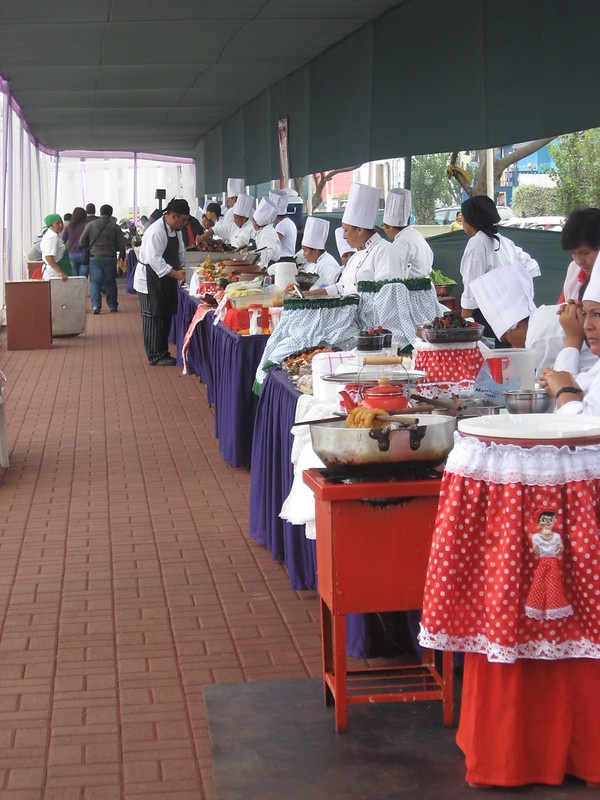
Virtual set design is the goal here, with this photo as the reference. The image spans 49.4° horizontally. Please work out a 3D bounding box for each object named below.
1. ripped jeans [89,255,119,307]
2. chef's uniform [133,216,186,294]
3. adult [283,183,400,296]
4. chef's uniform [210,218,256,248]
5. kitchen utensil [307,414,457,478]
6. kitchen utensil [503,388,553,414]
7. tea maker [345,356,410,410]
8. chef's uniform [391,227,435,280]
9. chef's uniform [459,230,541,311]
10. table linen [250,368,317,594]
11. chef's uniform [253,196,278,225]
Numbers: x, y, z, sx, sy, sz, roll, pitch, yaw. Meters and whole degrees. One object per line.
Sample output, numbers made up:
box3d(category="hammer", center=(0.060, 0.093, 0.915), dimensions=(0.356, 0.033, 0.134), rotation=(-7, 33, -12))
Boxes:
box3d(category="ripped jeans", center=(-4.063, -2.463, 13.560), dimensions=(0.537, 1.173, 0.400), rotation=(-7, 20, -29))
box3d(category="chef's uniform", center=(-1.843, -1.888, 8.608), dimensions=(0.663, 0.909, 0.727), rotation=(16, 24, 14))
box3d(category="adult", center=(0.386, -0.948, 4.315), dimensions=(0.422, 0.855, 0.648), rotation=(-7, 8, -34))
box3d(category="chef's uniform", center=(-1.071, -2.704, 10.601), dimensions=(0.675, 0.525, 1.273), rotation=(-7, 18, -23))
box3d(category="kitchen utensil", center=(0.167, 0.106, 1.479), dimensions=(0.206, 0.071, 0.187), rotation=(-3, -1, 40))
box3d(category="kitchen utensil", center=(0.538, -0.004, 1.541), dimensions=(0.071, 0.039, 0.069), rotation=(0, 4, -1))
box3d(category="tea maker", center=(0.253, -0.028, 1.972), dimensions=(0.176, 0.217, 0.242), rotation=(-5, -9, 10))
box3d(category="chef's uniform", center=(0.931, -1.184, 5.614), dimensions=(0.277, 0.387, 0.490), rotation=(-6, -6, 22))
box3d(category="chef's uniform", center=(1.533, -1.080, 5.207), dimensions=(0.780, 0.618, 0.359), rotation=(-23, 29, -25))
box3d(category="table linen", center=(-0.066, 0.368, 2.801), dimensions=(0.127, 0.747, 0.911), rotation=(-1, 9, -14))
box3d(category="chef's uniform", center=(-0.501, -2.507, 8.889), dimensions=(0.317, 0.364, 0.335), rotation=(17, -25, -38))
